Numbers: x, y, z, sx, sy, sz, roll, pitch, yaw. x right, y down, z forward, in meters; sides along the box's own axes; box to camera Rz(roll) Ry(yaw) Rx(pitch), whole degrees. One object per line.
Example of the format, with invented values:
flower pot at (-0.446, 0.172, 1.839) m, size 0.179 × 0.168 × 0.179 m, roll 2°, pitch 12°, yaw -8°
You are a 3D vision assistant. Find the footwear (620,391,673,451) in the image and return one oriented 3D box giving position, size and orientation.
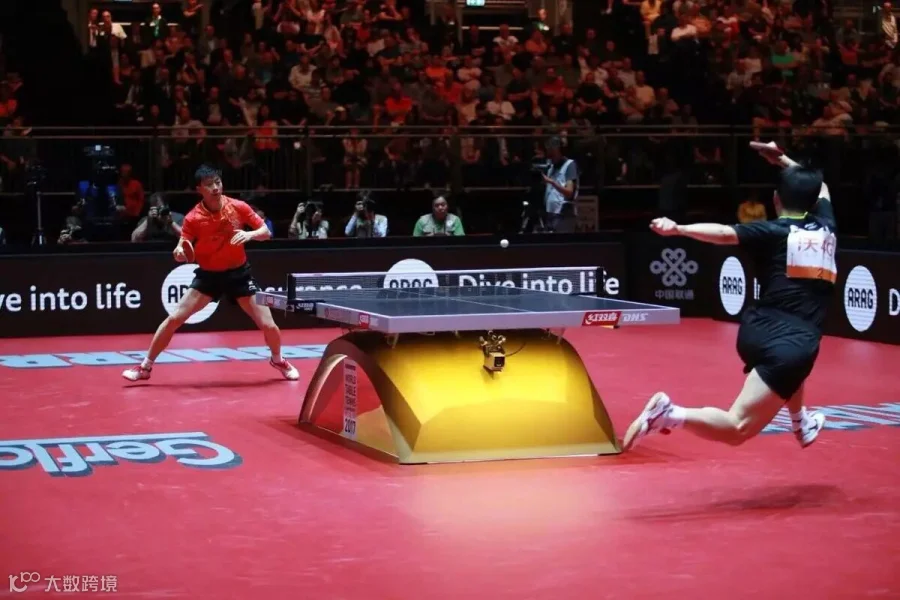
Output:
footwear at (1.409, 0.850, 5.770) m, size 0.313 × 0.399 × 0.272 m, roll 2°, pitch 6°, yaw 25°

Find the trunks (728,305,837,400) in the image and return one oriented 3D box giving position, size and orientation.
trunks at (2.851, 0.486, 6.997) m, size 0.810 × 0.763 × 0.584 m, roll 33°, pitch 10°, yaw 40°

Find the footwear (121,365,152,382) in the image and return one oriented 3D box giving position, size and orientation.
footwear at (-3.906, 0.903, 10.169) m, size 0.443 × 0.200 × 0.158 m, roll 2°, pitch 19°, yaw -20°
